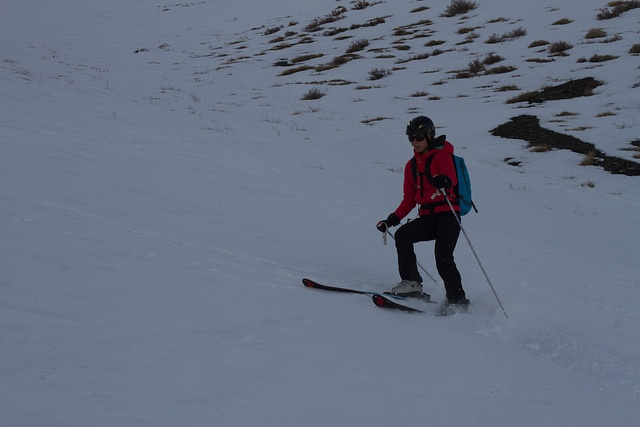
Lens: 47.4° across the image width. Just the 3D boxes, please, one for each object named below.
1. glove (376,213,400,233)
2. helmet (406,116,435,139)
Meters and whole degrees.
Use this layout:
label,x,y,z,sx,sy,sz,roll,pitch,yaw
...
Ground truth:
label,x,y,z,sx,sy,sz,roll,pitch,yaw
glove,1.571,0.217,16.538,0.546,0.219,0.325,-33,55,-13
helmet,2.249,-1.973,16.176,0.491,0.585,0.505,-8,46,2
